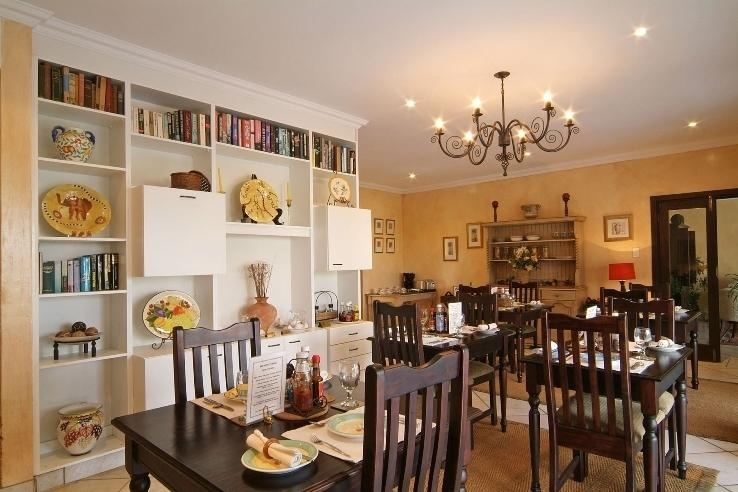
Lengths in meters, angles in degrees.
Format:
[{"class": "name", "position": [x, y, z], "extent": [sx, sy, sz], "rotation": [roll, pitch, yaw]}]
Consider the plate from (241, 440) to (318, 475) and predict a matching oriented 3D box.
[{"class": "plate", "position": [-0.518, 1.242, 3.013], "extent": [0.450, 0.128, 0.224], "rotation": [-3, -2, -9]}]

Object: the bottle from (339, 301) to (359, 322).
[{"class": "bottle", "position": [-0.229, 0.791, 6.174], "extent": [0.084, 0.223, 0.210], "rotation": [-4, -8, 42]}]

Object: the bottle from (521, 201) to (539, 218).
[{"class": "bottle", "position": [2.727, -0.595, 8.713], "extent": [0.332, 0.253, 0.338], "rotation": [-4, -2, 0]}]

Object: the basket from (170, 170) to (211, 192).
[{"class": "basket", "position": [-1.711, -0.595, 5.005], "extent": [0.231, 0.109, 0.289], "rotation": [0, -1, 32]}]

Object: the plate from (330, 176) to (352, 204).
[{"class": "plate", "position": [-0.349, -0.679, 6.187], "extent": [0.048, 0.274, 0.269], "rotation": [-14, -30, 38]}]

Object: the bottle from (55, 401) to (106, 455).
[{"class": "bottle", "position": [-2.519, 1.604, 4.507], "extent": [0.346, 0.412, 0.289], "rotation": [-3, -2, -28]}]

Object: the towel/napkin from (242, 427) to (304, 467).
[{"class": "towel/napkin", "position": [-0.546, 1.172, 3.038], "extent": [0.402, 0.134, 0.156], "rotation": [17, 31, 26]}]

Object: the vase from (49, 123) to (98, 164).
[{"class": "vase", "position": [-2.628, -0.911, 4.598], "extent": [0.368, 0.292, 0.310], "rotation": [-2, 17, -43]}]

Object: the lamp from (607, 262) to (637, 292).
[{"class": "lamp", "position": [3.679, 0.441, 7.461], "extent": [0.377, 0.429, 0.385], "rotation": [2, -8, -13]}]

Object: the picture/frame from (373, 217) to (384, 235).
[{"class": "picture/frame", "position": [0.172, -0.392, 10.040], "extent": [0.033, 0.332, 0.348], "rotation": [-3, -4, 35]}]

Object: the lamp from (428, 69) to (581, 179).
[{"class": "lamp", "position": [1.642, -1.517, 6.391], "extent": [1.864, 1.226, 1.534], "rotation": [-3, 9, -5]}]

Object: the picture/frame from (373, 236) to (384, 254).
[{"class": "picture/frame", "position": [0.174, -0.024, 10.023], "extent": [0.032, 0.328, 0.334], "rotation": [-1, -1, 37]}]

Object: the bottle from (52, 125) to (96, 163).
[{"class": "bottle", "position": [-2.574, -0.862, 4.564], "extent": [0.319, 0.297, 0.373], "rotation": [-3, -2, 39]}]

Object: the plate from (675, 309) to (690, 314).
[{"class": "plate", "position": [3.560, 0.733, 5.838], "extent": [0.124, 0.025, 0.126], "rotation": [0, 1, 41]}]

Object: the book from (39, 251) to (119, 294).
[{"class": "book", "position": [-2.524, 0.243, 4.532], "extent": [0.624, 0.318, 0.065], "rotation": [-2, -2, -35]}]

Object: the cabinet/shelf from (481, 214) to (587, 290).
[{"class": "cabinet/shelf", "position": [2.822, 0.105, 8.607], "extent": [1.285, 1.072, 0.412], "rotation": [-2, -5, 34]}]

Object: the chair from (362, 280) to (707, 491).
[{"class": "chair", "position": [1.990, 0.841, 4.295], "extent": [2.159, 1.037, 1.273], "rotation": [-4, -6, 37]}]

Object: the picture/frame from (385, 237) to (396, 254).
[{"class": "picture/frame", "position": [0.419, -0.012, 10.301], "extent": [0.027, 0.340, 0.350], "rotation": [-1, -2, 36]}]

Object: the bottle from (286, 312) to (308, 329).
[{"class": "bottle", "position": [-0.812, 0.810, 5.634], "extent": [0.181, 0.071, 0.166], "rotation": [3, 5, 0]}]

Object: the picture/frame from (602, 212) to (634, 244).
[{"class": "picture/frame", "position": [3.879, -0.279, 7.975], "extent": [0.042, 0.519, 0.496], "rotation": [3, -1, -43]}]

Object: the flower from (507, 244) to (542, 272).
[{"class": "flower", "position": [2.609, 0.221, 8.624], "extent": [0.441, 0.419, 0.452], "rotation": [-12, -10, 26]}]

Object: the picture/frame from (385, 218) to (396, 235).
[{"class": "picture/frame", "position": [0.416, -0.390, 10.312], "extent": [0.027, 0.336, 0.354], "rotation": [2, 1, 35]}]

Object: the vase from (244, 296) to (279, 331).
[{"class": "vase", "position": [-1.120, 0.707, 5.442], "extent": [0.401, 0.460, 0.416], "rotation": [1, -13, -6]}]

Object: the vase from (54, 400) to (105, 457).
[{"class": "vase", "position": [-2.510, 1.613, 4.538], "extent": [0.362, 0.393, 0.349], "rotation": [-2, -1, -36]}]

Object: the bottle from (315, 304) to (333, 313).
[{"class": "bottle", "position": [-0.548, 0.763, 6.268], "extent": [0.260, 0.093, 0.076], "rotation": [1, -2, -32]}]

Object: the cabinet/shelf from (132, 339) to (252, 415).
[{"class": "cabinet/shelf", "position": [-1.415, 1.043, 4.054], "extent": [0.285, 0.673, 0.811], "rotation": [-6, -5, 44]}]

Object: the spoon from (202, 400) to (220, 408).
[{"class": "spoon", "position": [-1.086, 1.090, 3.546], "extent": [0.119, 0.036, 0.021], "rotation": [4, 6, 30]}]

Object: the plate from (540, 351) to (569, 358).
[{"class": "plate", "position": [1.426, 0.841, 3.985], "extent": [0.118, 0.029, 0.123], "rotation": [0, -4, -1]}]

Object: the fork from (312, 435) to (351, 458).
[{"class": "fork", "position": [-0.218, 1.206, 3.079], "extent": [0.210, 0.029, 0.036], "rotation": [24, 31, 33]}]

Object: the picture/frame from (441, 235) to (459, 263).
[{"class": "picture/frame", "position": [1.566, 0.058, 9.837], "extent": [0.069, 0.711, 0.494], "rotation": [5, -6, -39]}]
